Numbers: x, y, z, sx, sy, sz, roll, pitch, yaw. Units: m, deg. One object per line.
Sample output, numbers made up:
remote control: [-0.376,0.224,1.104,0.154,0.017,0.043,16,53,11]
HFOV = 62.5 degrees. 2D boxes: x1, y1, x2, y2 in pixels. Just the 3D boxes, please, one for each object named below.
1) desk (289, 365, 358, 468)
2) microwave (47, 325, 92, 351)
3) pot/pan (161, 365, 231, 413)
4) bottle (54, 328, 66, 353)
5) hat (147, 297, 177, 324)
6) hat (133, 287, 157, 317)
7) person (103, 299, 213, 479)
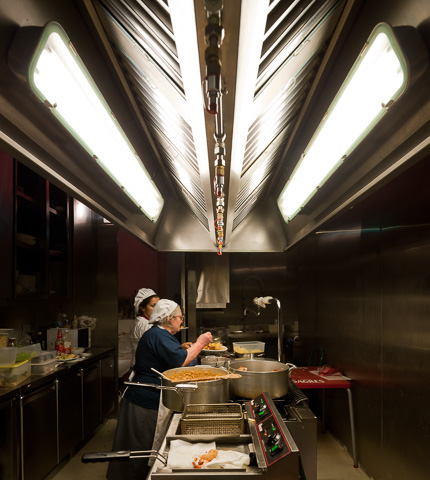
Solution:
desk: [0.955,1.640,3.351,0.533,0.618,0.782,0,-14,-4]
microwave: [-1.657,1.032,4.025,0.390,0.255,0.306,-1,-5,1]
pot/pan: [-0.094,0.803,1.827,0.375,0.227,0.520,1,-12,-3]
bottle: [-1.656,1.090,3.814,0.107,0.242,0.314,5,-13,-24]
hat: [-0.379,0.484,2.581,0.167,0.157,0.149,-16,37,-30]
hat: [-0.740,0.690,3.942,0.224,0.327,0.259,3,21,-39]
person: [-0.396,1.035,2.461,0.683,1.228,0.431,-8,-13,36]
